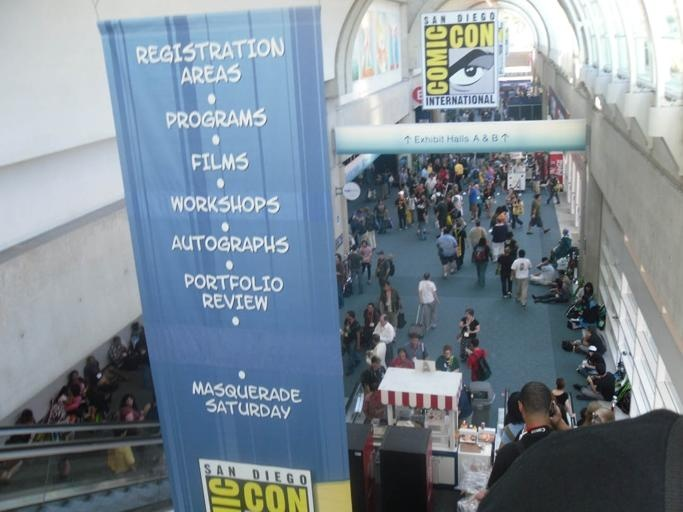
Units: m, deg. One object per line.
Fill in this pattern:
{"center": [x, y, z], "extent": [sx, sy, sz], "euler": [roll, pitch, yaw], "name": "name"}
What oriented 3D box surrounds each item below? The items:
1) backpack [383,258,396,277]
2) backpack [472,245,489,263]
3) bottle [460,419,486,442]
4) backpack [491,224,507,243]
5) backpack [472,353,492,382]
{"center": [1.352, 0.353, 13.710], "extent": [0.244, 0.500, 0.406], "euler": [-4, 21, 1], "name": "backpack"}
{"center": [3.990, -0.034, 13.886], "extent": [0.343, 0.530, 0.452], "euler": [2, -6, 30], "name": "backpack"}
{"center": [1.970, 2.708, 7.351], "extent": [0.248, 0.109, 0.288], "euler": [1, 27, 17], "name": "bottle"}
{"center": [4.782, -0.665, 14.639], "extent": [0.470, 0.617, 0.324], "euler": [-2, 21, 4], "name": "backpack"}
{"center": [2.797, 2.259, 9.673], "extent": [0.280, 0.576, 0.466], "euler": [6, 25, 30], "name": "backpack"}
